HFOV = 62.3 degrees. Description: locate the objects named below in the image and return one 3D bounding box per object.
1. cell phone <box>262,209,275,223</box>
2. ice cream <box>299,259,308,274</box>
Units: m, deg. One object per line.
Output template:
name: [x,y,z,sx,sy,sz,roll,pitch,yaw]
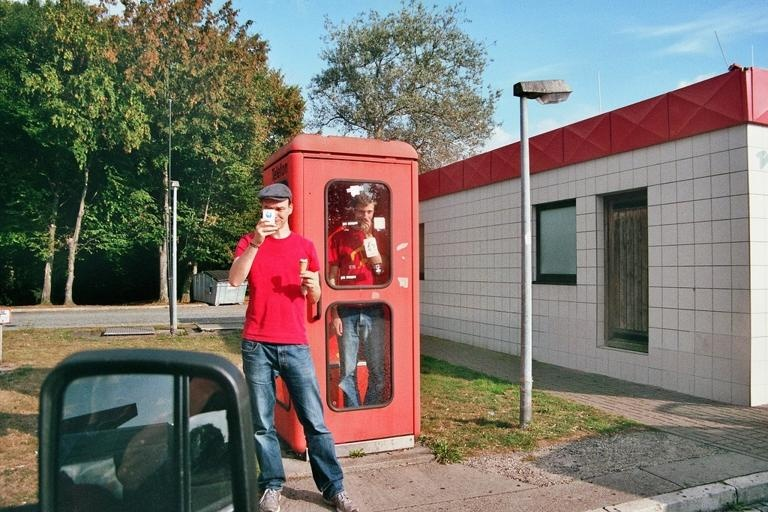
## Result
cell phone: [-1.298,-0.448,7.178,0.131,0.233,0.024,-5,-19,-1]
ice cream: [-0.925,0.117,7.378,0.097,0.174,0.129,-1,8,-9]
